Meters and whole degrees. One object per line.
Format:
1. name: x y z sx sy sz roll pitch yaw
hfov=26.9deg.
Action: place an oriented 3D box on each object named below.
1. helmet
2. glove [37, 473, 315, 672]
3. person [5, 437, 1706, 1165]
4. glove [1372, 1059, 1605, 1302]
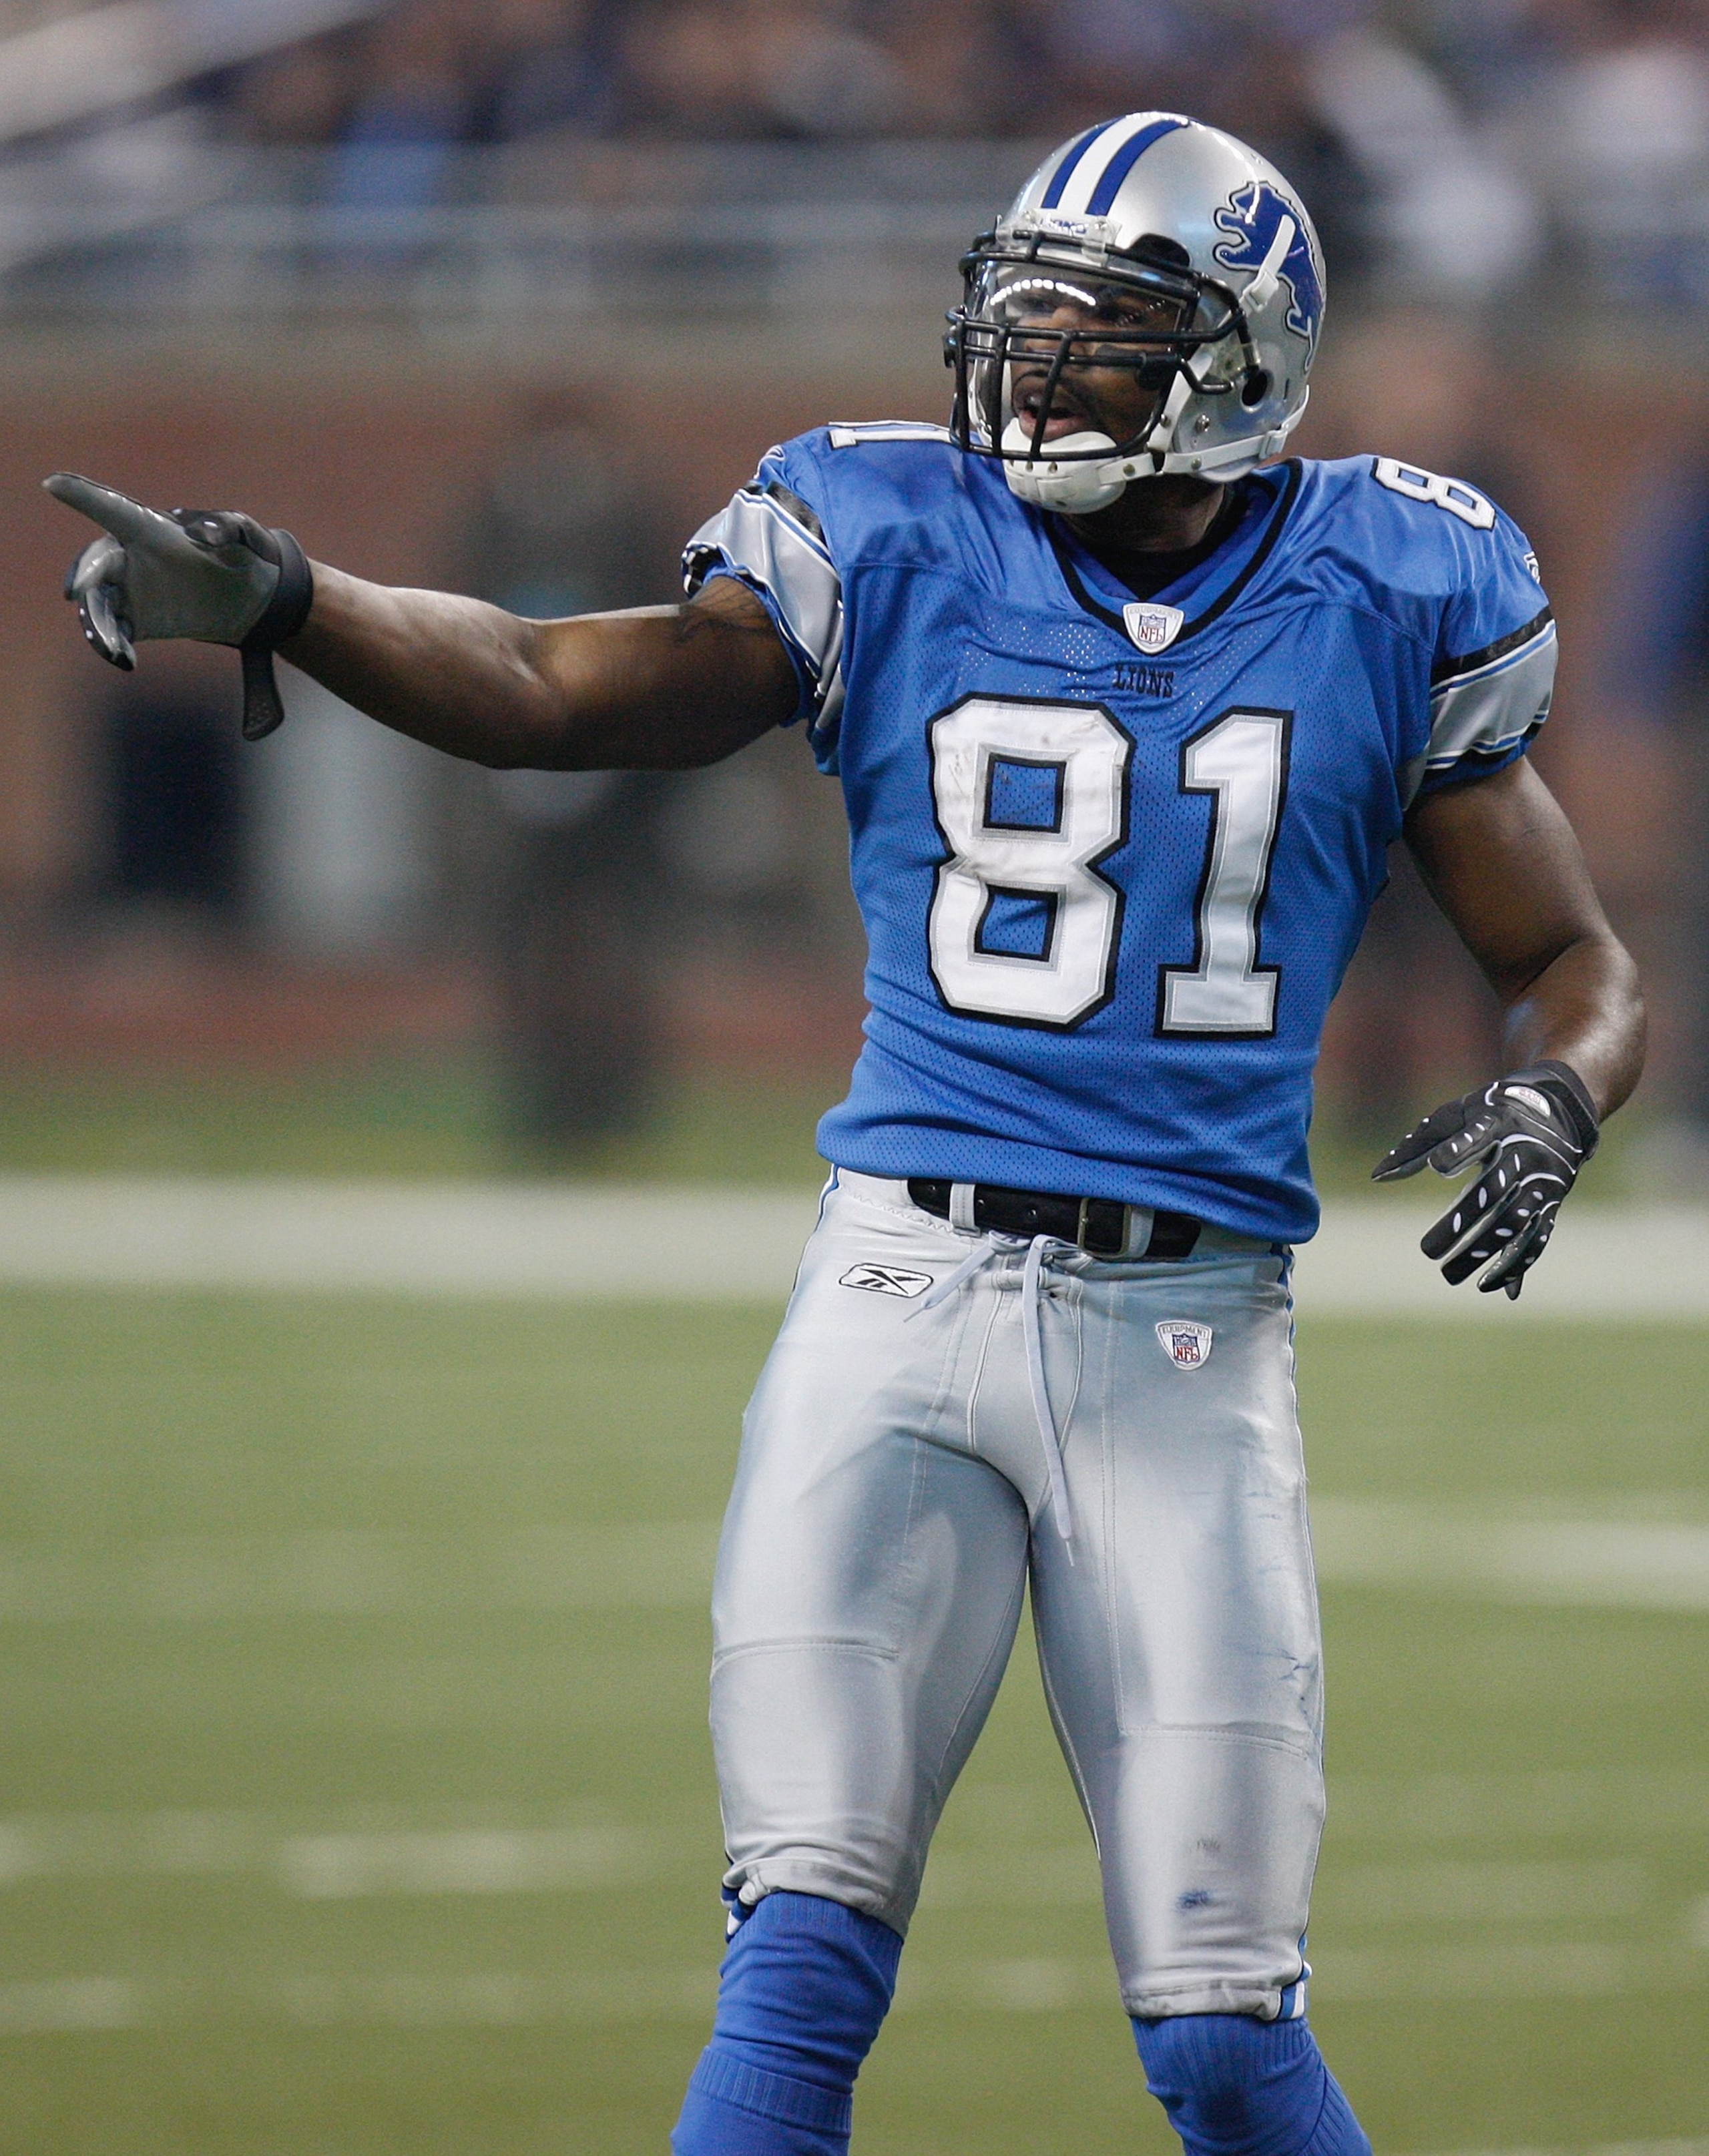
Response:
1. helmet: 0.232 -0.554 2.596 0.268 0.228 0.334 7 9 37
2. glove: -0.444 -0.333 2.370 0.164 0.157 0.231 1 20 -8
3. person: -0.170 -0.331 4.506 2.060 1.162 0.607 0 1 -5
4. glove: 0.450 0.071 2.582 0.160 0.173 0.082 35 6 0
